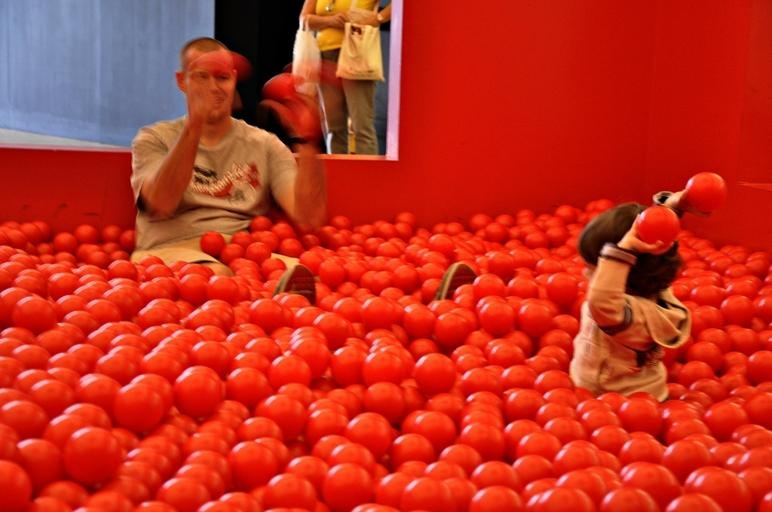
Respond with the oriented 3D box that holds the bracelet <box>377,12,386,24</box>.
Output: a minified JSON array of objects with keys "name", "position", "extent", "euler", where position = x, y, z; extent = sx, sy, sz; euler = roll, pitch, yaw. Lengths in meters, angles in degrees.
[{"name":"bracelet","position":[-0.037,-1.750,4.550],"extent":[0.016,0.066,0.063],"euler":[52,11,15]}]

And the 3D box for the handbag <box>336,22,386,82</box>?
[{"name":"handbag","position":[-0.201,-1.487,4.503],"extent":[0.498,0.498,0.274],"euler":[1,4,-5]}]
